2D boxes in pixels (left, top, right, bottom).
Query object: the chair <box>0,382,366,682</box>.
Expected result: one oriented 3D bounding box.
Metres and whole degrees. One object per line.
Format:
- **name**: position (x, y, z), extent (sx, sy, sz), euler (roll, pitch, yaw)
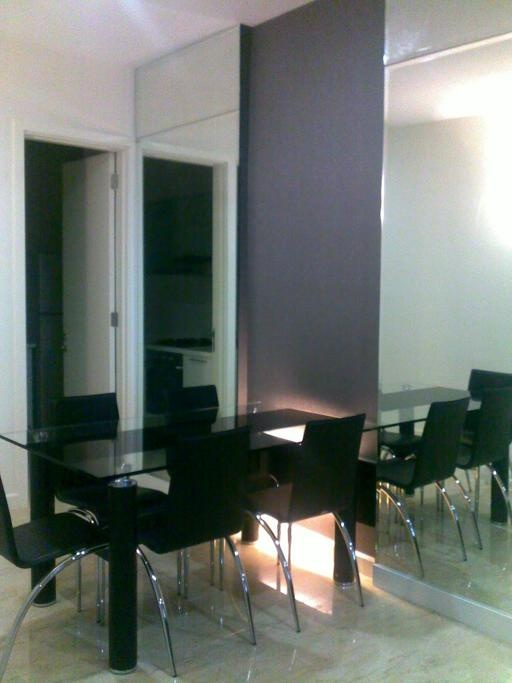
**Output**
- **chair**: position (-0.264, 0.674, 2.270), extent (1.382, 0.807, 0.780), euler (0, 1, -33)
